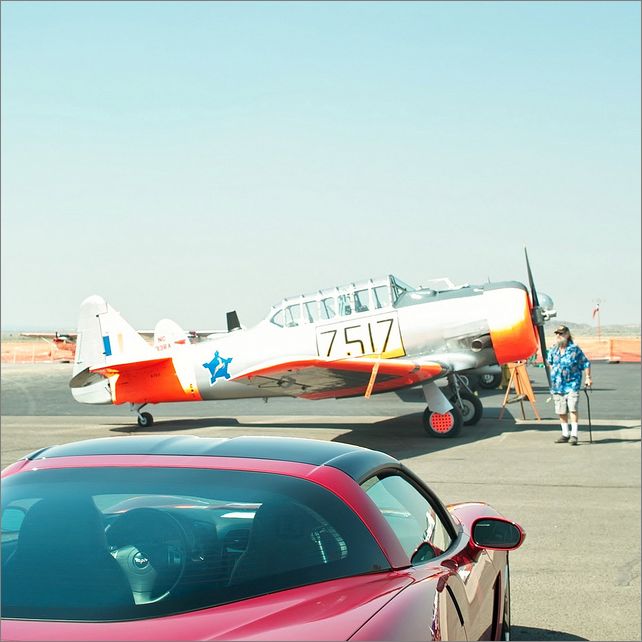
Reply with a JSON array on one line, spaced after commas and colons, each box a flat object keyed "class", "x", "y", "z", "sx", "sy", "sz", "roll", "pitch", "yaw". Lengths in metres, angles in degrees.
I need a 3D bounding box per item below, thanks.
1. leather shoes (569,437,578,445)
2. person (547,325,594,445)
[{"class": "leather shoes", "x": 4.004, "y": 1.894, "z": 11.002, "sx": 0.162, "sy": 0.081, "sz": 0.141, "roll": -3, "pitch": 9, "yaw": -32}, {"class": "person", "x": 4.008, "y": 1.023, "z": 11.138, "sx": 0.687, "sy": 1.299, "sz": 0.655, "roll": -7, "pitch": -5, "yaw": 2}]
